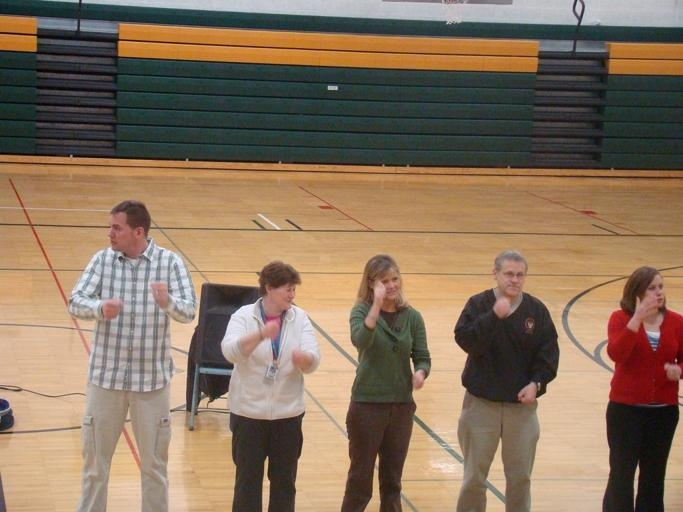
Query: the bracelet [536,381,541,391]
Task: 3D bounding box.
[{"bbox_3d":[1.448,0.971,6.979,0.040,0.058,0.020,2,1,10],"label":"bracelet"}]
